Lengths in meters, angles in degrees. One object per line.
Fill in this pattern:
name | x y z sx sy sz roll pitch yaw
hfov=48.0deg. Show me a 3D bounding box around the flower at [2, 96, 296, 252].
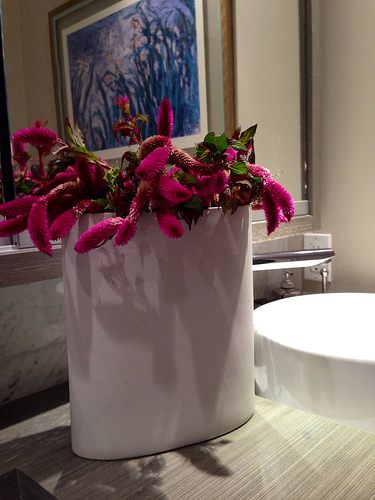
flower | -0.026 -0.050 0.348 0.193 0.093 0.152 -10 4 -7
